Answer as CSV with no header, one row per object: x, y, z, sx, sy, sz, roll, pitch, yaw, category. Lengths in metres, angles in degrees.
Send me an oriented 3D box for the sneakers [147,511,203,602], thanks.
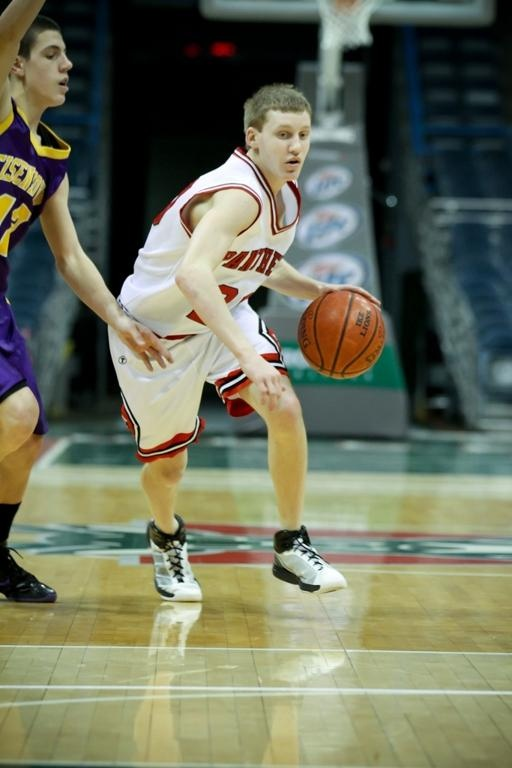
-0.229,0.480,1.935,0.097,0.109,0.276,-8,39,-9,sneakers

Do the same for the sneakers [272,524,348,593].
0.118,0.445,1.843,0.096,0.126,0.281,0,3,-33,sneakers
